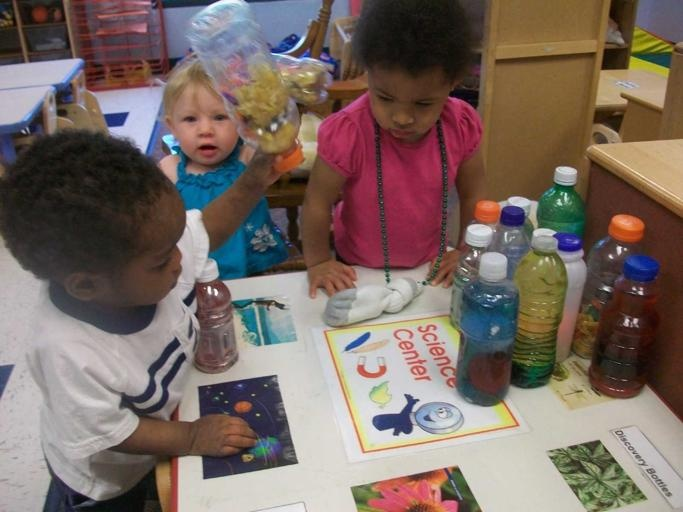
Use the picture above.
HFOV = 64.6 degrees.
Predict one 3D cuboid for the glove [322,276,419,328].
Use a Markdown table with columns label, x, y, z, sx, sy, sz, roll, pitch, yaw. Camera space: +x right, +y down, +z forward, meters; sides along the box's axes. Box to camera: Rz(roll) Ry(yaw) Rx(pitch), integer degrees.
| label | x | y | z | sx | sy | sz | roll | pitch | yaw |
| --- | --- | --- | --- | --- | --- | --- | --- | --- | --- |
| glove | 0.069 | 0.107 | 1.291 | 0.187 | 0.060 | 0.099 | -8 | 68 | -20 |

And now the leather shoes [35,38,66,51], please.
| label | x | y | z | sx | sy | sz | roll | pitch | yaw |
| --- | --- | --- | --- | --- | --- | --- | --- | --- | --- |
| leather shoes | -2.912 | -2.130 | 5.448 | 0.233 | 0.089 | 0.126 | -8 | 20 | -22 |

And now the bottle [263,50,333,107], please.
| label | x | y | z | sx | sy | sz | roll | pitch | yaw |
| --- | --- | --- | --- | --- | --- | --- | --- | --- | --- |
| bottle | -0.086 | -0.425 | 1.292 | 0.178 | 0.069 | 0.109 | 29 | 34 | 1 |
